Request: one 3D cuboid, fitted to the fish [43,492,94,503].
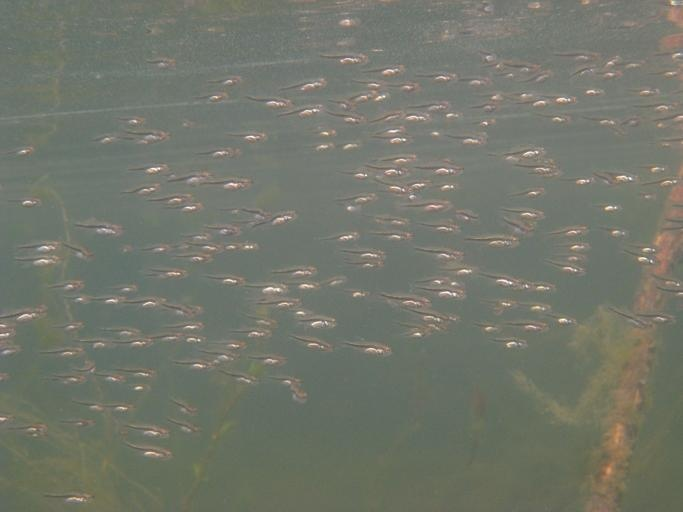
[{"bbox_3d":[-3.344,2.993,11.640,0.707,0.119,0.144,1,10,0],"label":"fish"}]

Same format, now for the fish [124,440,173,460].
[{"bbox_3d":[-2.397,2.429,11.635,0.692,0.125,0.093,10,-5,2],"label":"fish"}]
